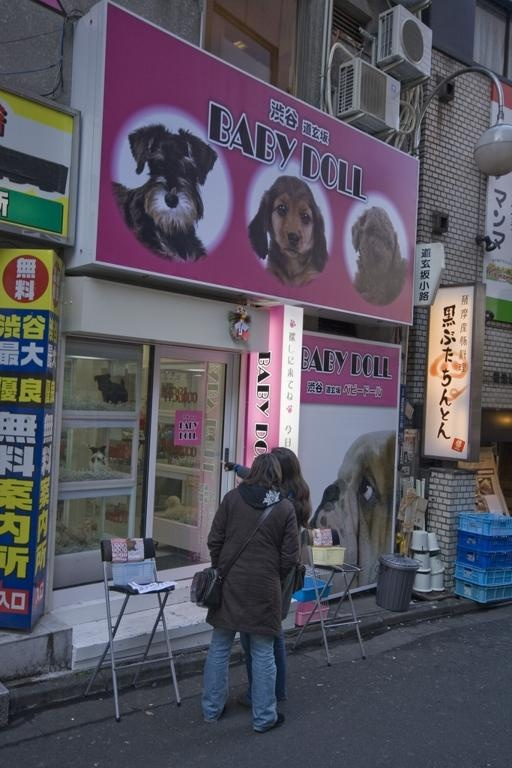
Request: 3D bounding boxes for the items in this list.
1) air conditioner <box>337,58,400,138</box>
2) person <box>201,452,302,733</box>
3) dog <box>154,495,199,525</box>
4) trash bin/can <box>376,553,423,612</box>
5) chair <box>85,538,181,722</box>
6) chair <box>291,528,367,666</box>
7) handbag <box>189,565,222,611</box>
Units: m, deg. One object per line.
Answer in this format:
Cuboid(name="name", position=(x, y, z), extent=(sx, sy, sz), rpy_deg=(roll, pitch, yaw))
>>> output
Cuboid(name="air conditioner", position=(1.374, -3.513, 7.846), extent=(0.909, 0.799, 0.331), rpy_deg=(8, -5, -43))
Cuboid(name="person", position=(-0.039, 1.285, 3.975), extent=(0.574, 1.695, 0.356), rpy_deg=(3, -3, 5))
Cuboid(name="dog", position=(-0.756, 1.220, 6.110), extent=(0.158, 0.278, 0.495), rpy_deg=(-2, -22, 36))
Cuboid(name="trash bin/can", position=(1.558, 2.224, 7.161), extent=(0.450, 0.653, 0.487), rpy_deg=(4, -16, 25))
Cuboid(name="chair", position=(-0.855, 1.631, 4.363), extent=(0.493, 1.067, 0.460), rpy_deg=(-5, -6, 39))
Cuboid(name="chair", position=(0.719, 1.952, 5.708), extent=(0.403, 0.936, 0.477), rpy_deg=(5, -25, -29))
Cuboid(name="handbag", position=(-0.308, 1.219, 4.029), extent=(0.170, 0.377, 0.346), rpy_deg=(4, -15, 1))
